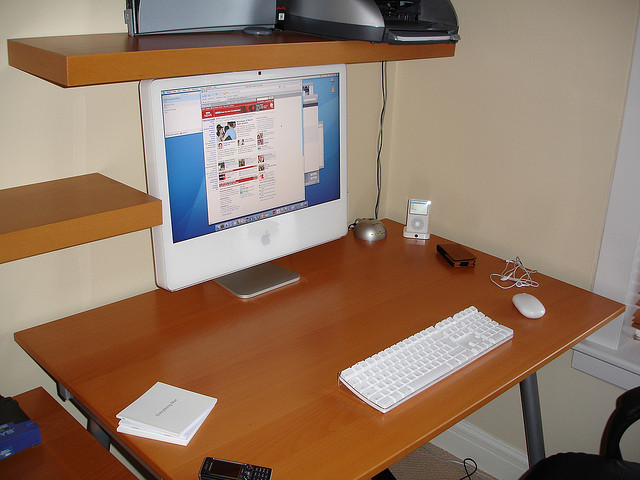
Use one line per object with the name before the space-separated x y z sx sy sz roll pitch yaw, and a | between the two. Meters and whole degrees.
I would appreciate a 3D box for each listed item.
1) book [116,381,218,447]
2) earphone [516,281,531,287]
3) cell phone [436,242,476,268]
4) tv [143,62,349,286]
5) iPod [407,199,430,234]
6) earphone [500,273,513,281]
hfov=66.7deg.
book | -0.327 0.369 1.026 0.113 0.028 0.110 10 27 14
earphone | 0.642 0.140 1.530 0.027 0.006 0.019 8 14 15
cell phone | 0.459 0.045 1.661 0.069 0.025 0.097 -1 22 -5
tv | -0.220 -0.193 1.354 0.603 0.523 0.061 -14 23 -38
iPod | 0.368 -0.062 1.821 0.083 0.080 0.145 0 56 17
earphone | 0.601 0.118 1.570 0.022 0.009 0.074 20 33 33
